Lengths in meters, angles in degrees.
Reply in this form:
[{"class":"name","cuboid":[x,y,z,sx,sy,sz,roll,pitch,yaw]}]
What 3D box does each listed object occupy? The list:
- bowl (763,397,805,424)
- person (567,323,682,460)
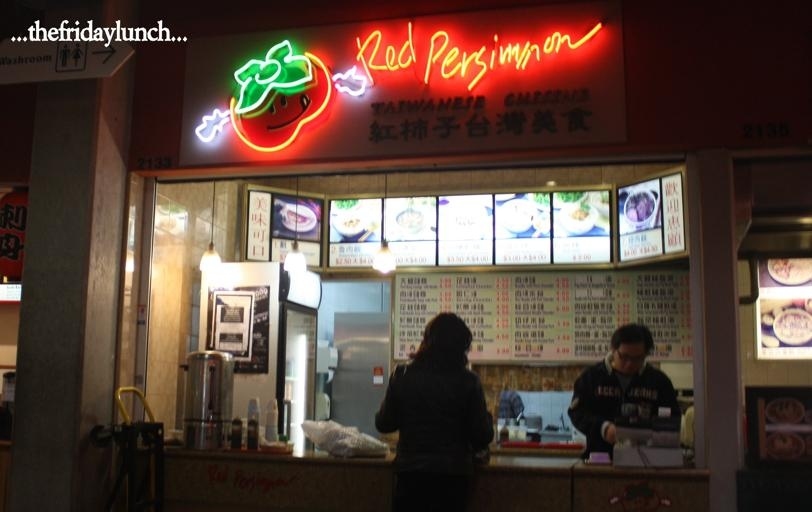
[{"class":"bowl","cuboid":[2.878,1.164,6.062,0.280,0.196,0.042,0,-9,2]},{"class":"person","cuboid":[1.764,1.090,6.508,0.856,1.083,0.353,-1,-9,10]}]
